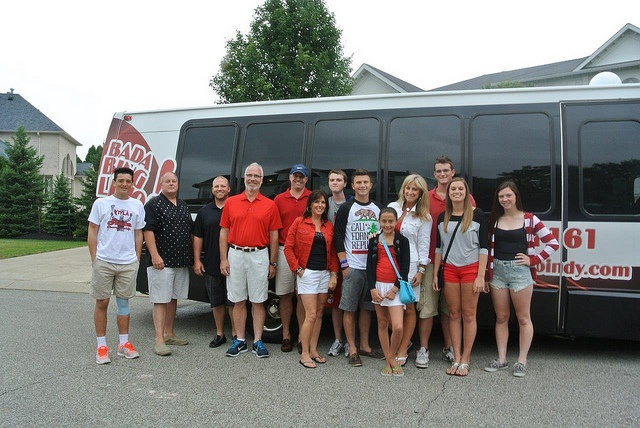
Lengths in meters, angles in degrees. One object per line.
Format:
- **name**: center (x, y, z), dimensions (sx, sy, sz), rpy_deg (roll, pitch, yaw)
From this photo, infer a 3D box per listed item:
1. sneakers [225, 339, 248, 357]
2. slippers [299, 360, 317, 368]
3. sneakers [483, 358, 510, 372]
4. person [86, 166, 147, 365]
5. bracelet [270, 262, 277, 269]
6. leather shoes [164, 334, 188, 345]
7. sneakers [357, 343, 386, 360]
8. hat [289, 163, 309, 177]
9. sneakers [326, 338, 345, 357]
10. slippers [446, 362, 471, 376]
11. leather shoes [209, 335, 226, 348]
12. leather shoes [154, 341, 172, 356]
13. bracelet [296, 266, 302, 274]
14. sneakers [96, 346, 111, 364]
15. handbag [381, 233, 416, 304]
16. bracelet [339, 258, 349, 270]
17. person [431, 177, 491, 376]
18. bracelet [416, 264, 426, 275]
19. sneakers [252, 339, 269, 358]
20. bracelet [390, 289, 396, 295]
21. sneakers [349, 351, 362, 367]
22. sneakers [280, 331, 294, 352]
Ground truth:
- **sneakers**: center (-1.218, 1.967, 6.668), dimensions (0.135, 0.162, 0.372), rpy_deg (-3, -10, 22)
- **slippers**: center (-0.150, 2.036, 6.234), dimensions (0.235, 0.100, 0.189), rpy_deg (-1, 6, -11)
- **sneakers**: center (2.406, 2.058, 6.160), dimensions (0.366, 0.133, 0.130), rpy_deg (3, -8, -13)
- **person**: center (-2.841, 0.687, 6.381), dimensions (0.727, 2.685, 0.556), rpy_deg (-3, 6, -28)
- **bracelet**: center (-0.667, 0.748, 6.674), dimensions (0.067, 0.050, 0.085), rpy_deg (1, -1, -39)
- **leather shoes**: center (-2.216, 1.941, 7.021), dimensions (0.360, 0.144, 0.132), rpy_deg (4, -3, -4)
- **sneakers**: center (0.775, 2.004, 6.579), dimensions (0.349, 0.127, 0.142), rpy_deg (1, 1, 14)
- **hat**: center (-0.294, -0.633, 6.637), dimensions (0.226, 0.183, 0.141), rpy_deg (-1, 6, -17)
- **sneakers**: center (0.233, 1.979, 6.692), dimensions (0.138, 0.140, 0.332), rpy_deg (-2, -7, 20)
- **slippers**: center (1.872, 2.037, 5.988), dimensions (0.349, 0.155, 0.164), rpy_deg (-1, 6, -11)
- **leather shoes**: center (-1.573, 1.942, 6.937), dimensions (0.118, 0.108, 0.276), rpy_deg (-1, -6, 20)
- **leather shoes**: center (-2.302, 1.946, 6.591), dimensions (0.165, 0.145, 0.297), rpy_deg (-5, 8, -42)
- **bracelet**: center (-0.279, 0.776, 6.257), dimensions (0.084, 0.084, 0.021), rpy_deg (-6, -13, 11)
- **sneakers**: center (-2.992, 1.920, 6.233), dimensions (0.180, 0.217, 0.236), rpy_deg (-3, 6, -27)
- **handbag**: center (1.015, 0.714, 5.920), dimensions (0.485, 0.875, 0.271), rpy_deg (2, 6, 14)
- **bracelet**: center (0.341, 0.683, 6.277), dimensions (0.130, 0.122, 0.127), rpy_deg (2, -11, -21)
- **person**: center (1.864, 0.813, 6.007), dimensions (0.699, 2.592, 0.397), rpy_deg (2, 6, 17)
- **bracelet**: center (1.397, 0.748, 6.191), dimensions (0.104, 0.082, 0.121), rpy_deg (19, -13, -11)
- **sneakers**: center (-0.857, 1.944, 6.589), dimensions (0.229, 0.218, 0.224), rpy_deg (0, 6, -8)
- **bracelet**: center (0.978, 1.009, 5.919), dimensions (0.074, 0.073, 0.019), rpy_deg (-30, -10, -4)
- **sneakers**: center (0.500, 1.997, 6.315), dimensions (0.193, 0.140, 0.265), rpy_deg (1, 6, 3)
- **sneakers**: center (-0.488, 1.925, 6.837), dimensions (0.272, 0.221, 0.629), rpy_deg (0, -1, 0)
